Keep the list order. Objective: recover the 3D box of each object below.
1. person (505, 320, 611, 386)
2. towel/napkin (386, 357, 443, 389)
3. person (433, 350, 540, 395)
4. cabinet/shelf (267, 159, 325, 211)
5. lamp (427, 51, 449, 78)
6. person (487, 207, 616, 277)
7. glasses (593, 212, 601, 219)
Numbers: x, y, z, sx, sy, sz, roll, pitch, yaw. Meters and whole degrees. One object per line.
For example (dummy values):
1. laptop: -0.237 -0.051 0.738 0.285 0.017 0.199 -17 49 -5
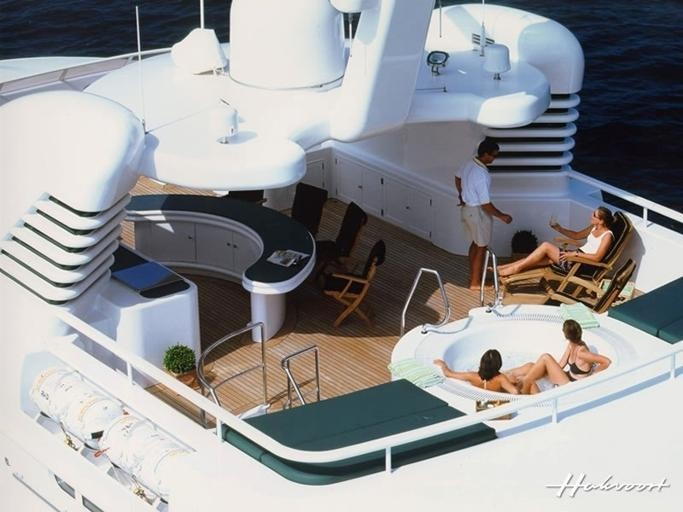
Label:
1. person: 2.517 1.263 9.376 1.393 0.826 0.458 1 3 21
2. towel/napkin: 0.856 1.363 8.895 0.333 0.102 0.418 -20 32 -36
3. person: 1.687 1.397 9.036 1.038 0.529 1.225 11 0 -2
4. cabinet/shelf: -0.783 -1.127 12.257 0.857 0.595 0.464 -25 39 -32
5. lamp: 1.476 -3.023 12.007 0.357 0.342 0.400 5 48 8
6. person: 3.246 -0.198 11.710 1.682 0.968 1.132 0 14 13
7. glasses: 3.751 -0.601 11.281 0.088 0.037 0.084 14 24 -2
